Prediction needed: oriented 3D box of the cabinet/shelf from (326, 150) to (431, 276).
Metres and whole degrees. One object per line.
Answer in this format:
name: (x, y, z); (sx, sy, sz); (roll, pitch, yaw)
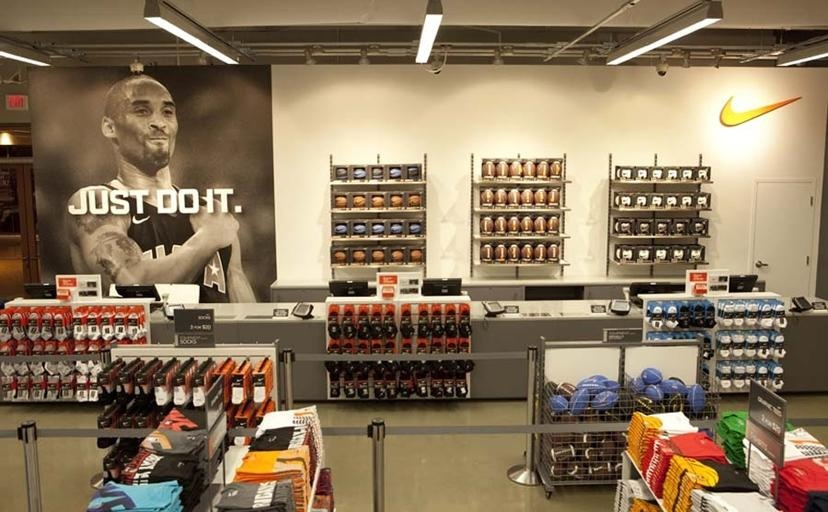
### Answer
cabinet/shelf: (-0.594, -0.661, 12.526); (1.781, 2.166, 0.713); (0, -1, 9)

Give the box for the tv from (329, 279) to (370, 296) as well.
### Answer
tv: (-0.959, 0.467, 10.044); (0.485, 0.232, 0.445); (1, -4, -3)

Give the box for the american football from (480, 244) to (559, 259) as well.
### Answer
american football: (1.894, -0.079, 12.300); (1.373, 0.310, 0.225); (-1, 1, -3)

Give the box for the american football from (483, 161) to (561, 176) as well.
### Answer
american football: (1.926, -1.583, 12.217); (1.403, 0.366, 0.096); (-1, 1, 1)

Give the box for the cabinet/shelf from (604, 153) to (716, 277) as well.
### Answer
cabinet/shelf: (4.505, -0.753, 12.567); (1.824, 2.300, 0.578); (-1, 1, -2)

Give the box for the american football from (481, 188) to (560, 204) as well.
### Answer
american football: (1.890, -1.076, 12.281); (1.408, 0.318, 0.241); (-1, 1, -2)

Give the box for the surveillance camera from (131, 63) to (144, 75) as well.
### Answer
surveillance camera: (-4.834, -3.302, 11.919); (0.243, 0.097, 0.278); (0, 3, -6)
